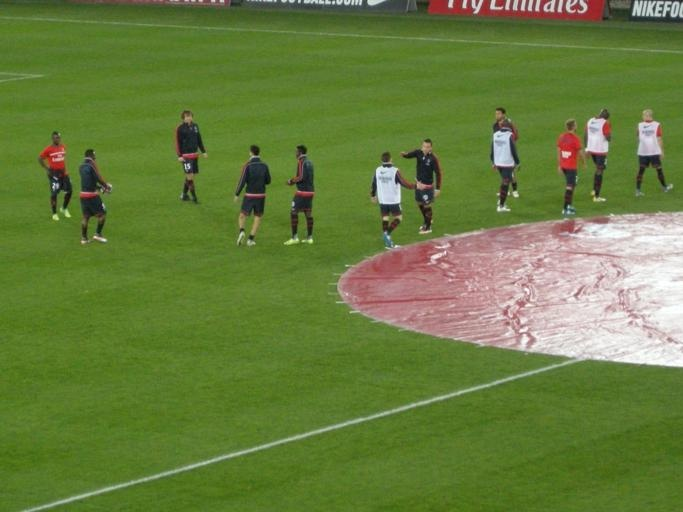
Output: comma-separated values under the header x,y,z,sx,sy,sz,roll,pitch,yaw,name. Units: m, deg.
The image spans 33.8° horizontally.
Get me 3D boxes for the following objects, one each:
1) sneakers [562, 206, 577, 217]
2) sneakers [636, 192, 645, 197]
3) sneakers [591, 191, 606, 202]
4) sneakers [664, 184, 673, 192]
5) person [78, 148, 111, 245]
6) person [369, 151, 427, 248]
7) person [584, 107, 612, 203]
x,y,z,sx,sy,sz,roll,pitch,yaw,name
5.199,-1.024,26.131,0.428,0.166,0.140,3,43,17,sneakers
7.283,-1.497,27.605,0.083,0.088,0.243,7,13,33,sneakers
6.176,-1.433,27.361,0.460,0.251,0.160,-6,18,-13,sneakers
8.059,-1.662,27.917,0.207,0.131,0.071,-42,50,-21,sneakers
-5.394,-1.293,24.508,0.763,2.075,0.797,-8,18,-12,person
1.072,-1.226,24.298,0.822,2.011,0.978,-6,17,-6,person
6.173,-2.425,27.217,0.571,2.174,0.733,-3,18,5,person
